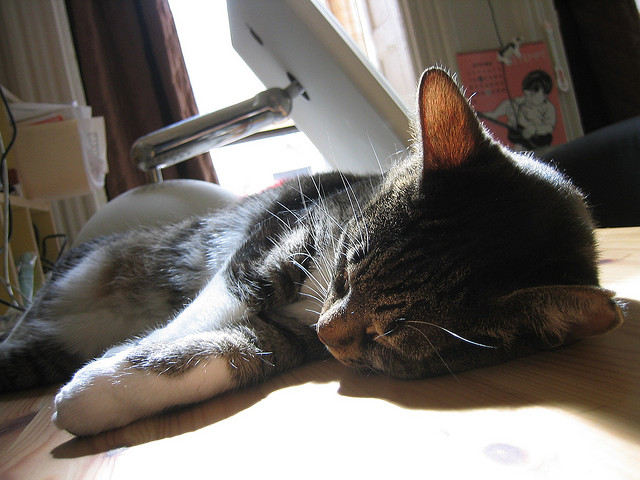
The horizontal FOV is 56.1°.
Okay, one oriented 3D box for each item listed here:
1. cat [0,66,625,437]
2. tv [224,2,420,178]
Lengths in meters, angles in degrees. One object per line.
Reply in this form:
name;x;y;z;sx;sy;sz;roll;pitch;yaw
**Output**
cat;-0.138;0.080;1.684;1.541;0.753;0.910;19;-1;41
tv;-0.035;-0.378;1.584;0.124;0.548;0.371;-41;20;-15
